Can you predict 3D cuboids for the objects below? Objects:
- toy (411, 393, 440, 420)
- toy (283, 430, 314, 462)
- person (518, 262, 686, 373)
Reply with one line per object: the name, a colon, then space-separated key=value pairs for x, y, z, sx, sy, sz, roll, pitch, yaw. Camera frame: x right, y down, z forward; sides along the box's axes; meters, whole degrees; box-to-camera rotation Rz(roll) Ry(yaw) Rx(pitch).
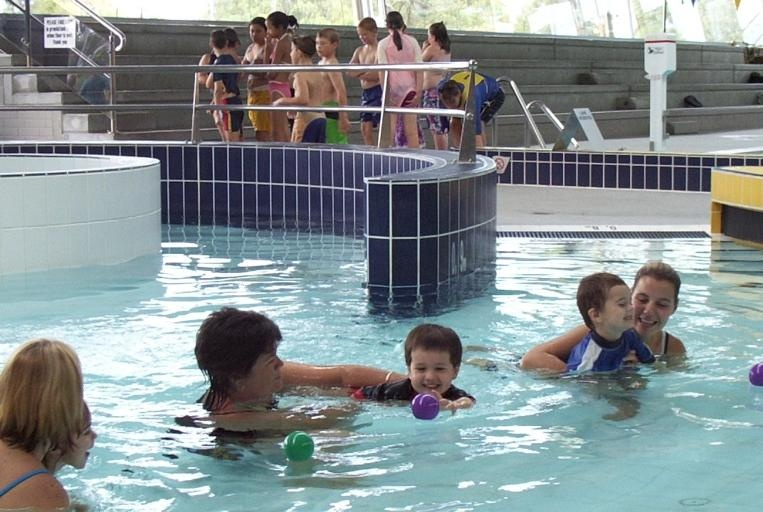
toy: x=0.181 y=0.616 z=2.986 sx=0.107 sy=0.116 sz=0.074 roll=-1 pitch=3 yaw=-1
toy: x=-0.304 y=0.710 z=2.718 sx=0.123 sy=0.120 sz=0.118 roll=19 pitch=-33 yaw=-37
person: x=0.963 y=0.394 z=3.729 sx=0.802 sy=0.498 sz=0.543 roll=-8 pitch=-13 yaw=-12
